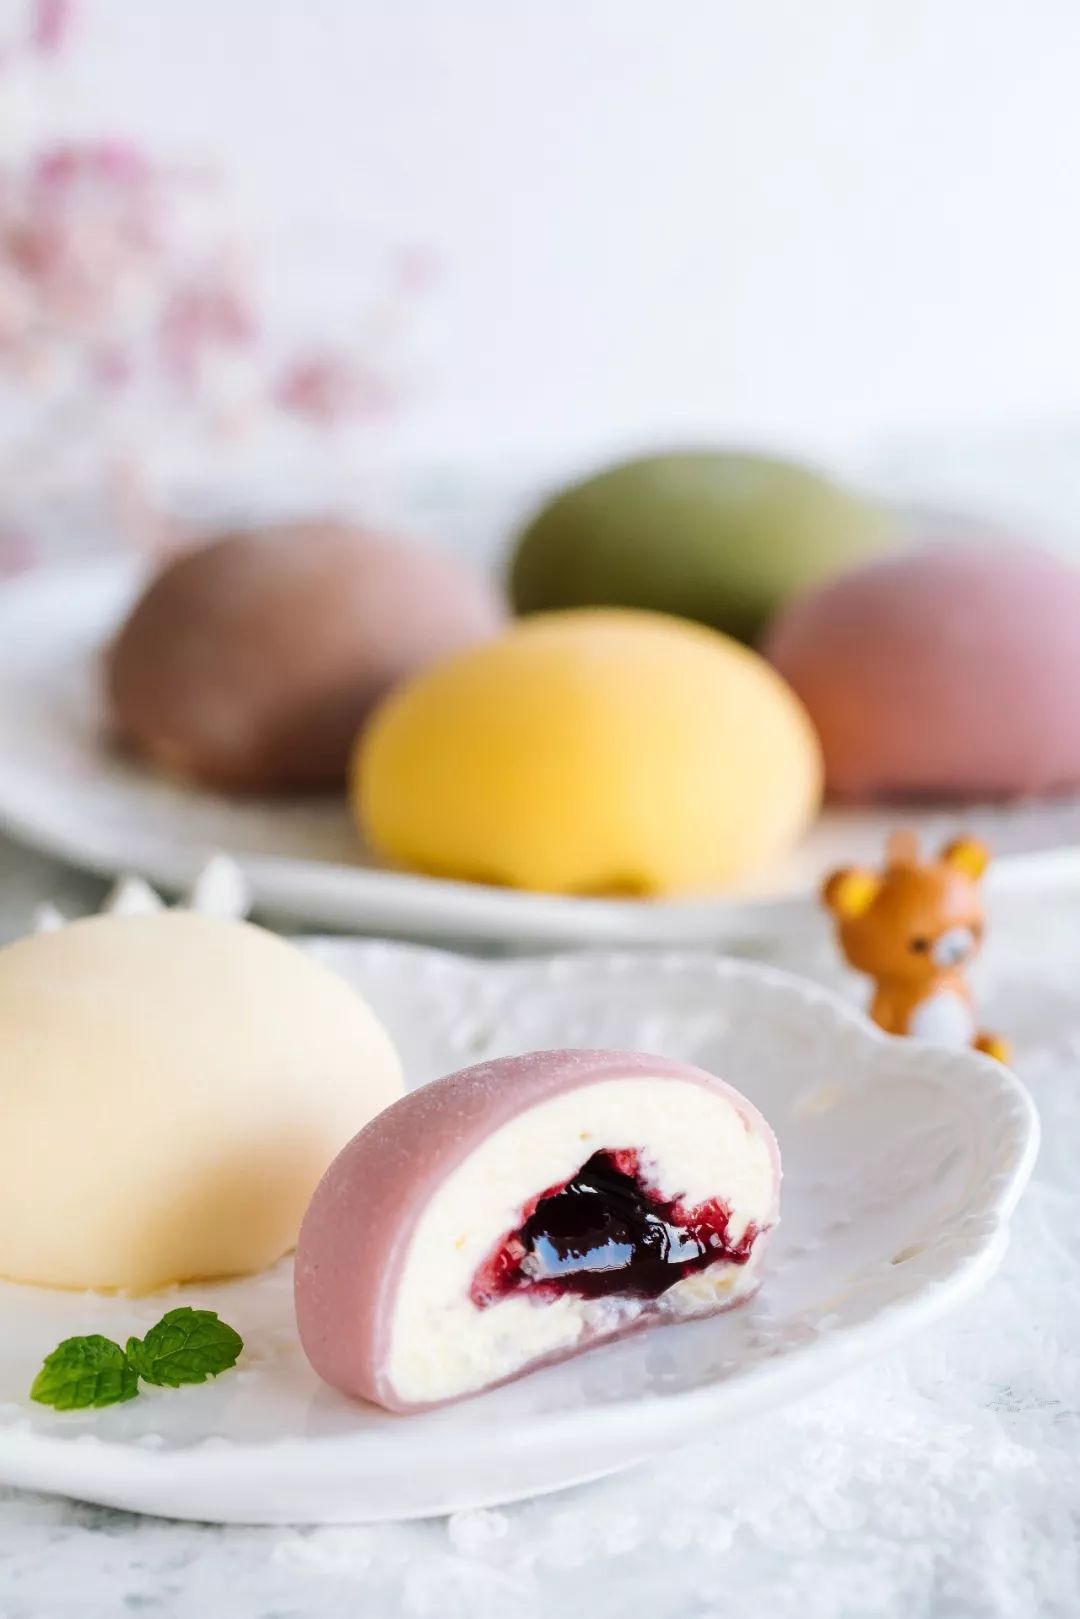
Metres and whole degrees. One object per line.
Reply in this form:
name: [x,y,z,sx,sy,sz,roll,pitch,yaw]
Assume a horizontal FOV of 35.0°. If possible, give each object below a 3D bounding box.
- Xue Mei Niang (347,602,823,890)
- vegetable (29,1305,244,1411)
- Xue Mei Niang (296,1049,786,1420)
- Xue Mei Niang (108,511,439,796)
Xue Mei Niang: [0.022,-0.026,0.755,0.176,0.082,0.130,1,2,-13]
vegetable: [-0.085,0.116,0.364,0.015,0.005,0.036,23,14,35]
Xue Mei Niang: [-0.009,0.092,0.408,0.130,0.065,0.070,-6,5,-41]
Xue Mei Niang: [-0.124,-0.074,0.909,0.168,0.082,0.151,-4,20,10]
